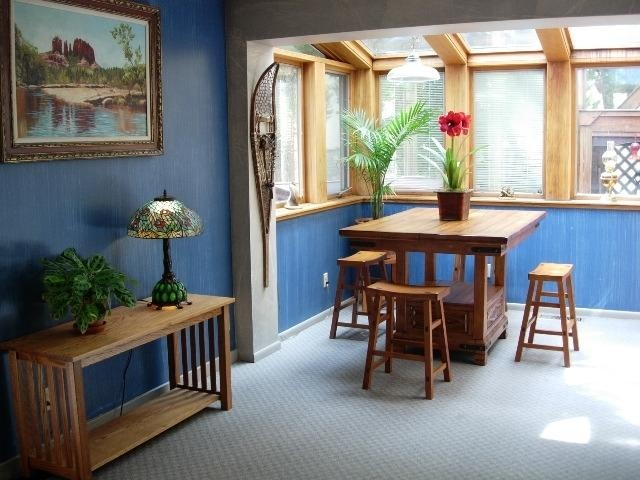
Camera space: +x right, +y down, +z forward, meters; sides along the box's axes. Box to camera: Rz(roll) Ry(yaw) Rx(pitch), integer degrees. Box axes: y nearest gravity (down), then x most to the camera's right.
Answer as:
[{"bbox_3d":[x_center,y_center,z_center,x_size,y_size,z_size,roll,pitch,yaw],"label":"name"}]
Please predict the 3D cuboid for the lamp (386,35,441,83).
[{"bbox_3d":[0.859,-1.655,4.647,0.396,0.277,0.312,-4,10,-16],"label":"lamp"}]

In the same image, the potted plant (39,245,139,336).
[{"bbox_3d":[-1.264,0.271,2.714,0.364,0.439,0.398,8,14,43],"label":"potted plant"}]

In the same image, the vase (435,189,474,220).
[{"bbox_3d":[1.152,-0.316,4.317,0.261,0.211,0.293,0,4,19],"label":"vase"}]

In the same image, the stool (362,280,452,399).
[{"bbox_3d":[0.696,0.792,3.901,0.739,1.015,0.591,2,7,26],"label":"stool"}]

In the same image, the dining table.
[{"bbox_3d":[1.149,0.304,4.537,1.252,1.082,1.726,3,8,29],"label":"dining table"}]

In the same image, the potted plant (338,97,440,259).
[{"bbox_3d":[0.540,-0.816,5.903,1.291,1.547,1.570,9,13,33],"label":"potted plant"}]

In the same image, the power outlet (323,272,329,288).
[{"bbox_3d":[0.065,0.422,5.497,0.050,0.162,0.174,2,5,22],"label":"power outlet"}]
